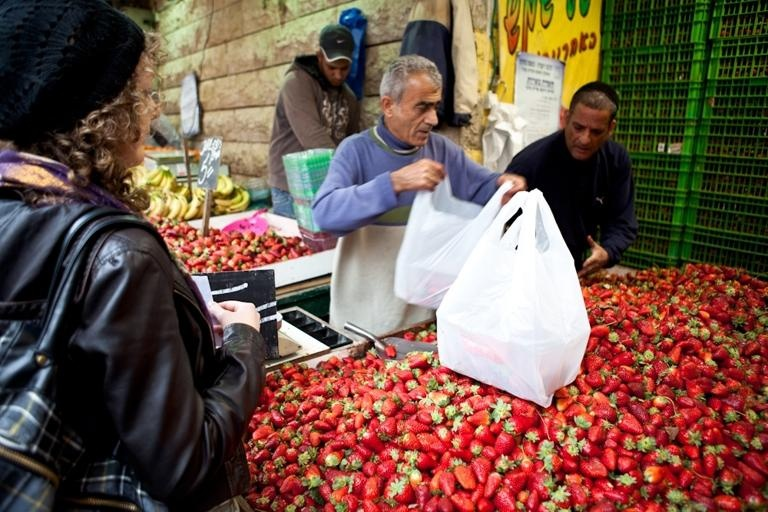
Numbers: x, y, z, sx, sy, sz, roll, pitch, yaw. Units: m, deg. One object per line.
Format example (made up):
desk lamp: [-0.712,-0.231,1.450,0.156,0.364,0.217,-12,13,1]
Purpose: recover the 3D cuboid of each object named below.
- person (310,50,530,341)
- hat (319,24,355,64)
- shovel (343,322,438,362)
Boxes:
person: [0.137,-0.151,3.075,1.027,1.865,1.014,-7,25,-24]
hat: [-0.357,-1.600,4.127,0.193,0.190,0.322,-5,40,-17]
shovel: [0.030,0.417,2.601,0.413,0.078,0.105,18,26,29]
